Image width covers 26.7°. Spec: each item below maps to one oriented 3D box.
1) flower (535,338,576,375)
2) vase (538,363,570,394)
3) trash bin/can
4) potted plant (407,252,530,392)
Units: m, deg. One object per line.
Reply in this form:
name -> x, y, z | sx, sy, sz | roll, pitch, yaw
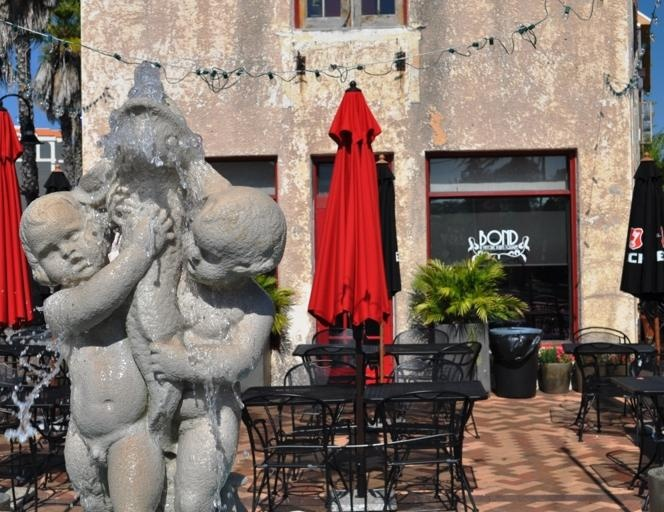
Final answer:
flower -> 3.091, 1.345, 19.158 | 0.459, 0.293, 0.440 | 0, 1, 18
vase -> 3.045, 1.652, 18.952 | 0.399, 0.323, 0.426 | 2, -9, 1
trash bin/can -> 2.543, 1.439, 19.089 | 0.859, 0.913, 0.867 | 0, 0, 36
potted plant -> 1.997, 0.868, 19.438 | 2.060, 1.973, 1.724 | 0, -5, -1
